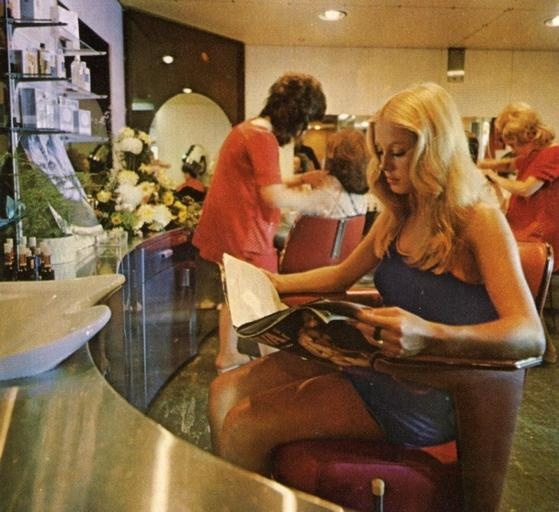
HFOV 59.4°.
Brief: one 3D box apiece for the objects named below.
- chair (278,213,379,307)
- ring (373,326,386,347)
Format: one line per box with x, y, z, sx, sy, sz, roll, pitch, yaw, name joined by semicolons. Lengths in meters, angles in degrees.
0.144;-0.008;1.649;0.281;0.315;0.266;13;-7;-20;chair
0.123;0.100;0.608;0.008;0.020;0.018;-2;0;-4;ring
